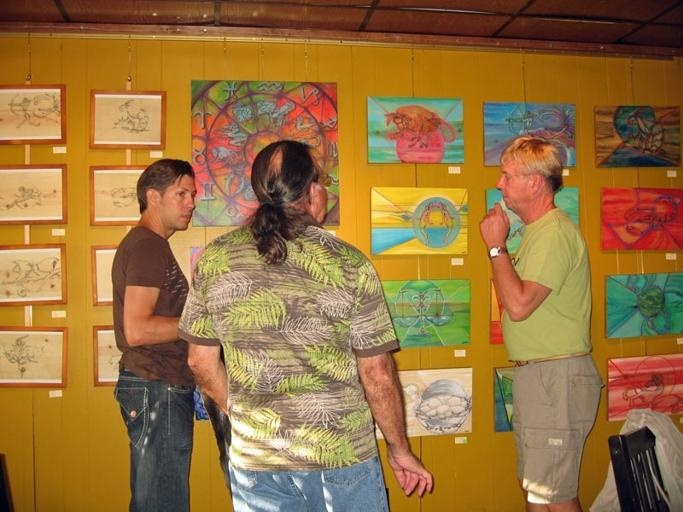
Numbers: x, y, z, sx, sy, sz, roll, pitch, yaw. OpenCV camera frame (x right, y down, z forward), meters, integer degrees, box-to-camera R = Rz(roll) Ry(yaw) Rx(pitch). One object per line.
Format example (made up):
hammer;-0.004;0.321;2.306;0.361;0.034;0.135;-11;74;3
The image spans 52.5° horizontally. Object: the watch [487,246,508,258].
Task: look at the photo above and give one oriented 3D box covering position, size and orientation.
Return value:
watch;0.924;-0.033;4.112;0.073;0.072;0.076;26;40;15
